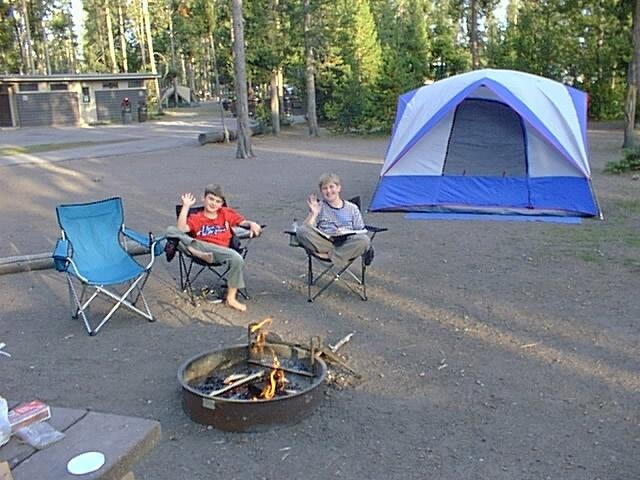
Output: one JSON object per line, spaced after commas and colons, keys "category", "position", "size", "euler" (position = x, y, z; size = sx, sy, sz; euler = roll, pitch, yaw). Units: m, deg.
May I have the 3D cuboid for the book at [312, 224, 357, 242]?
{"category": "book", "position": [0.182, -0.047, 6.437], "size": [0.511, 0.186, 0.150], "euler": [-7, 14, -19]}

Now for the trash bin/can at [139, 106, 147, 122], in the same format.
{"category": "trash bin/can", "position": [-10.394, -7.304, 33.844], "size": [0.446, 0.853, 0.385], "euler": [-8, 14, -25]}

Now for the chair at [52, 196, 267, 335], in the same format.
{"category": "chair", "position": [-2.364, 0.186, 6.410], "size": [1.022, 1.185, 1.573], "euler": [-8, 14, -23]}

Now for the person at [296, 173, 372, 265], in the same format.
{"category": "person", "position": [0.132, -0.118, 6.865], "size": [0.970, 1.383, 0.946], "euler": [1, -10, -3]}

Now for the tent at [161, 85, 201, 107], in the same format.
{"category": "tent", "position": [-12.276, -12.327, 49.850], "size": [2.422, 1.655, 5.812], "euler": [-2, 13, 3]}

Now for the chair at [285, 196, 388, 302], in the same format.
{"category": "chair", "position": [0.189, 0.312, 7.007], "size": [1.464, 1.551, 1.151], "euler": [1, 0, 1]}
